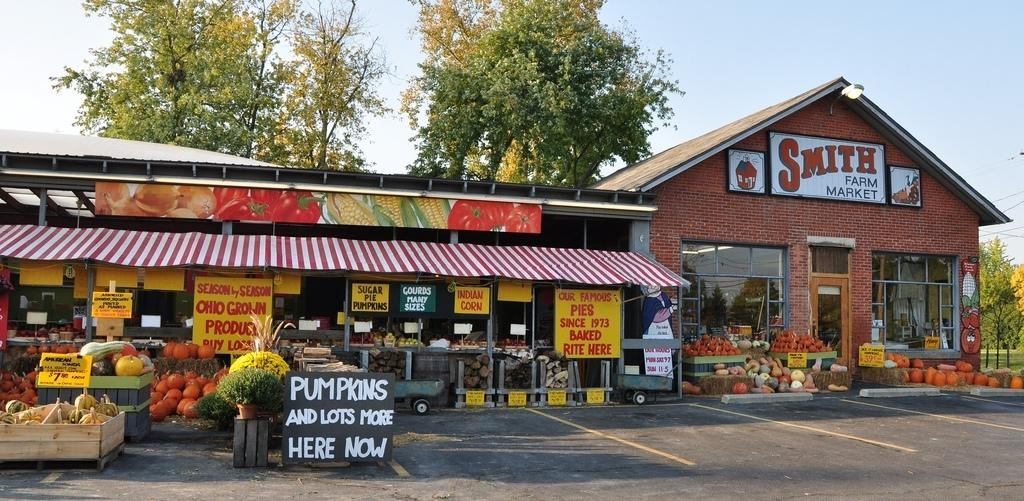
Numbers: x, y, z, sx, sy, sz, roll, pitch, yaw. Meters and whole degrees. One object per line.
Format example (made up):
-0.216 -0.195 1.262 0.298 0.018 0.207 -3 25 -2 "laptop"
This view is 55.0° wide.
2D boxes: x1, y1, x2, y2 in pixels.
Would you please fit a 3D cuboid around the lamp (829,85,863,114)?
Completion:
15.827 -7.219 46.668 1.757 1.127 0.748 -10 -16 42 "lamp"

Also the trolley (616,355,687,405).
5.897 5.935 42.759 2.741 1.631 1.576 2 -7 -14 "trolley"

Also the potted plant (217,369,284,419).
-9.334 5.143 35.453 2.208 1.717 2.186 4 -4 -1 "potted plant"

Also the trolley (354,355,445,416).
-4.037 5.595 41.223 4.359 2.421 2.471 -2 -5 22 "trolley"
